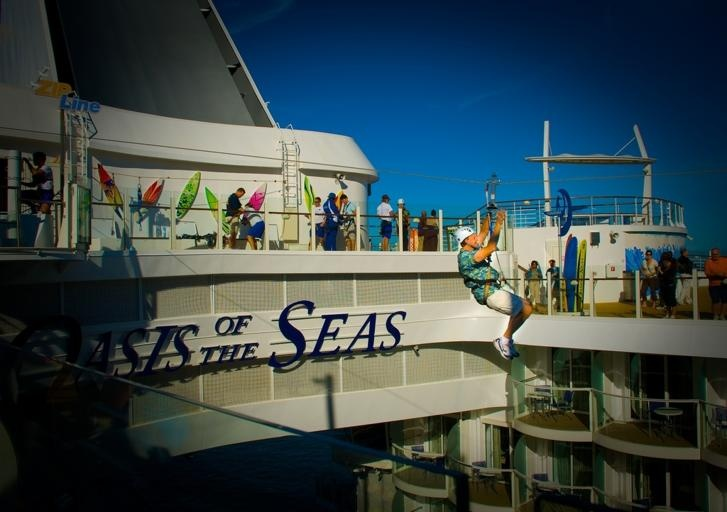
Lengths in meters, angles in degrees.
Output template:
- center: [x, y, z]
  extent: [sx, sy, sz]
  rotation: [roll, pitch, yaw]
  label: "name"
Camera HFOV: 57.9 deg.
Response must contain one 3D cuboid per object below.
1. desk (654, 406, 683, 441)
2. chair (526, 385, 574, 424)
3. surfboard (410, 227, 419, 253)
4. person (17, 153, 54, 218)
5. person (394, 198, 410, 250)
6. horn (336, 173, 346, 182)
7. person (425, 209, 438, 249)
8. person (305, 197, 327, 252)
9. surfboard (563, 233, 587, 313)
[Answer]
- center: [10.873, 5.824, 23.406]
  extent: [0.791, 1.014, 1.250]
  rotation: [6, 10, 34]
  label: "desk"
- center: [7.244, 5.613, 25.351]
  extent: [1.277, 0.965, 1.307]
  rotation: [-2, 1, -31]
  label: "chair"
- center: [1.953, -0.634, 25.300]
  extent: [0.424, 0.815, 0.184]
  rotation: [-6, 10, -36]
  label: "surfboard"
- center: [-9.054, -2.024, 18.148]
  extent: [0.806, 1.611, 2.427]
  rotation: [-4, 10, -27]
  label: "person"
- center: [1.529, -1.151, 24.926]
  extent: [0.364, 1.914, 1.002]
  rotation: [3, 9, 23]
  label: "person"
- center: [-1.021, -3.416, 28.675]
  extent: [0.303, 0.334, 0.148]
  rotation: [19, 27, 32]
  label: "horn"
- center: [2.676, -0.858, 25.640]
  extent: [0.474, 1.271, 0.316]
  rotation: [0, 8, 0]
  label: "person"
- center: [-1.756, -1.080, 24.172]
  extent: [0.616, 1.557, 1.679]
  rotation: [0, 9, -2]
  label: "person"
- center: [7.885, 0.734, 24.629]
  extent: [0.759, 2.763, 1.000]
  rotation: [2, 8, 18]
  label: "surfboard"
